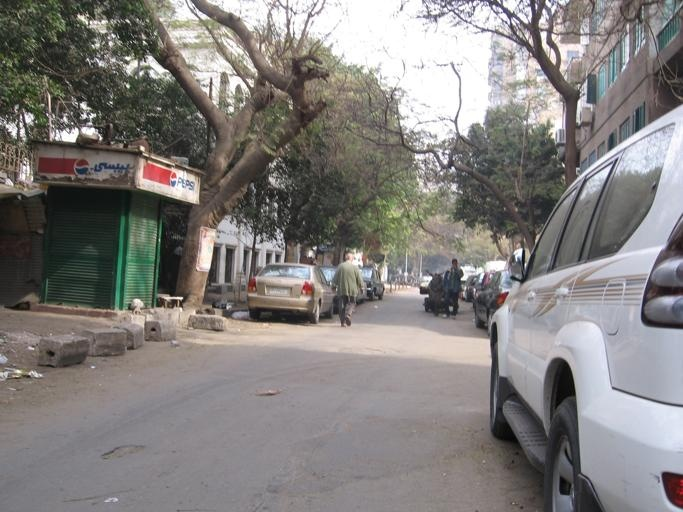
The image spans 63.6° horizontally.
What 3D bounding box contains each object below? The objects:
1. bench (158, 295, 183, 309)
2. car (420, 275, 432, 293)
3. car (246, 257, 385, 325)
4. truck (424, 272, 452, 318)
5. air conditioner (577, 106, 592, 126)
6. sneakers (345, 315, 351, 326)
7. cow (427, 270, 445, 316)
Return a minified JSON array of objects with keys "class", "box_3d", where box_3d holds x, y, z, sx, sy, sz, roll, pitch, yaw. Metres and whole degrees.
[{"class":"bench","box_3d":[-4.972,1.359,16.124,0.715,0.385,0.916,4,-2,-27]},{"class":"car","box_3d":[9.179,2.964,60.793,0.848,1.975,1.812,3,-3,4]},{"class":"car","box_3d":[-1.361,1.205,17.687,1.821,1.849,3.152,2,-3,41]},{"class":"truck","box_3d":[4.136,1.754,23.381,1.194,1.992,3.957,1,-5,6]},{"class":"air conditioner","box_3d":[11.880,-6.733,26.900,0.594,1.021,1.240,2,-1,8]},{"class":"sneakers","box_3d":[0.205,2.067,17.268,0.096,0.322,0.118,-1,2,4]},{"class":"cow","box_3d":[4.068,1.653,23.513,0.713,1.561,3.097,2,-2,9]}]
